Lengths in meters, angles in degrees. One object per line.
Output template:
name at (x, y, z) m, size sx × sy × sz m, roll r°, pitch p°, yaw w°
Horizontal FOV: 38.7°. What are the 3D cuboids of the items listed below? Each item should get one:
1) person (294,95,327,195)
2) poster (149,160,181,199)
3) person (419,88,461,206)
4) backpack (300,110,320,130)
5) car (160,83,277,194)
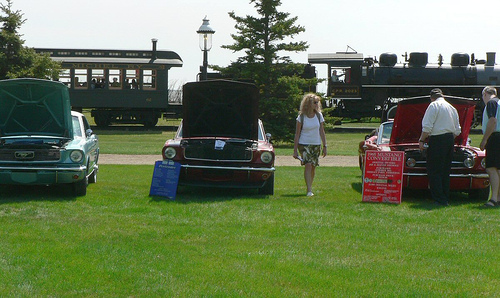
person at (1.510, -0.101, 18.052) m, size 0.803 × 2.517 × 0.483 m, roll 1°, pitch 5°, yaw -1°
poster at (-2.102, 0.734, 17.636) m, size 0.750 × 0.950 × 0.094 m, roll 5°, pitch -10°, yaw 22°
person at (4.578, -0.015, 17.333) m, size 0.924 × 2.713 × 0.547 m, roll 2°, pitch 6°, yaw 13°
backpack at (1.497, -0.764, 18.018) m, size 0.304 × 0.430 × 0.414 m, roll 5°, pitch 6°, yaw 14°
car at (-0.769, -0.285, 18.350) m, size 2.620 × 2.837 × 1.750 m, roll 0°, pitch 6°, yaw -7°
